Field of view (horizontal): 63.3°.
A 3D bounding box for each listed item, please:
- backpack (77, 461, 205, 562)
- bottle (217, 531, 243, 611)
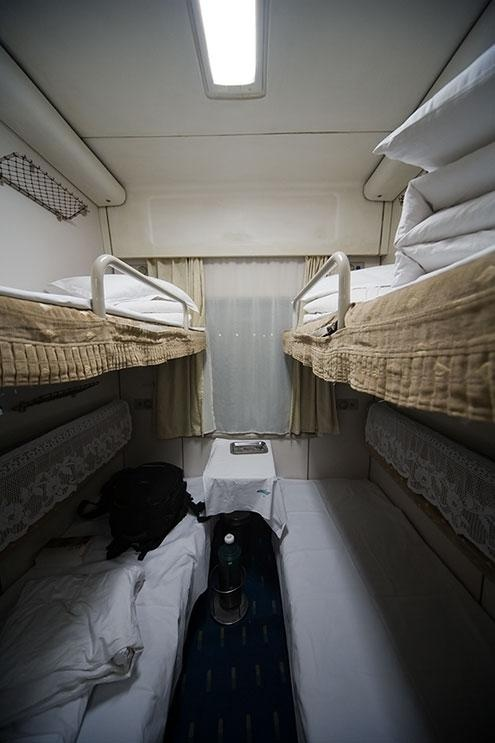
[{"bbox_3d":[-0.535,0.722,2.142,0.363,0.150,0.399,15,27,24],"label":"backpack"},{"bbox_3d":[-0.097,1.064,2.237,0.135,0.413,0.322,-1,6,-2],"label":"bottle"}]
